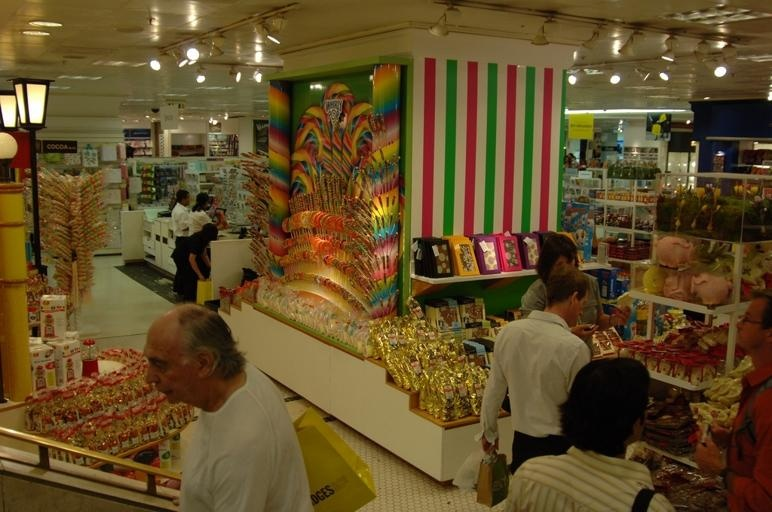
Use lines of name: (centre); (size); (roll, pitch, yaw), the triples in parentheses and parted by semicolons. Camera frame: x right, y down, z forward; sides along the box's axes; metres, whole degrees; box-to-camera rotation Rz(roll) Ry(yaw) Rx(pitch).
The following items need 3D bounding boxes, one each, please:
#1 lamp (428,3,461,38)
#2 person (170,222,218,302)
lamp: (0.581, -2.305, 5.263); (0.280, 0.355, 0.563); (1, 7, 4)
person: (-3.457, 0.098, 9.715); (0.722, 0.465, 1.592); (2, -20, -21)
